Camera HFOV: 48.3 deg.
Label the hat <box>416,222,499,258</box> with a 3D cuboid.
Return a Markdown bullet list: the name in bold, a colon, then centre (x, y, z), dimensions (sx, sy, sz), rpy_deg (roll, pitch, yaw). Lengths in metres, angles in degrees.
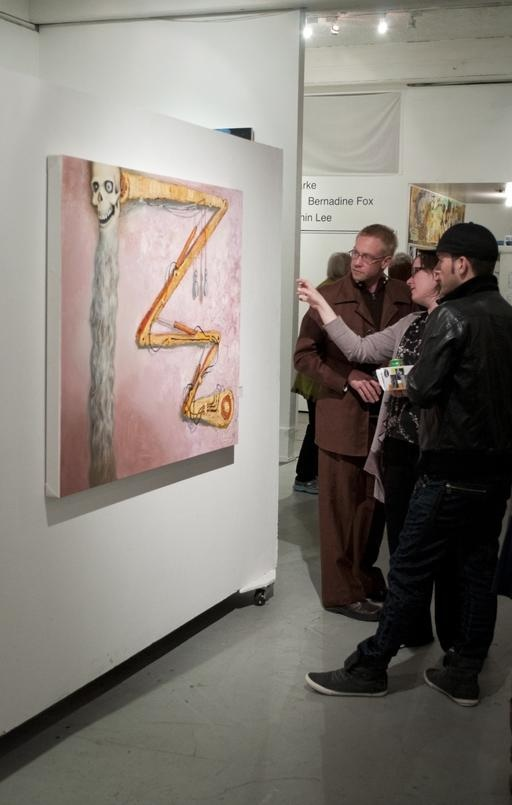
- **hat**: centre (0.605, -0.477, 1.633), dimensions (0.138, 0.097, 0.112), rpy_deg (22, 26, 24)

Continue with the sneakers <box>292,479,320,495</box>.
- **sneakers**: centre (0.405, 0.679, 4.597), dimensions (0.162, 0.082, 0.089), rpy_deg (1, 15, 7)
